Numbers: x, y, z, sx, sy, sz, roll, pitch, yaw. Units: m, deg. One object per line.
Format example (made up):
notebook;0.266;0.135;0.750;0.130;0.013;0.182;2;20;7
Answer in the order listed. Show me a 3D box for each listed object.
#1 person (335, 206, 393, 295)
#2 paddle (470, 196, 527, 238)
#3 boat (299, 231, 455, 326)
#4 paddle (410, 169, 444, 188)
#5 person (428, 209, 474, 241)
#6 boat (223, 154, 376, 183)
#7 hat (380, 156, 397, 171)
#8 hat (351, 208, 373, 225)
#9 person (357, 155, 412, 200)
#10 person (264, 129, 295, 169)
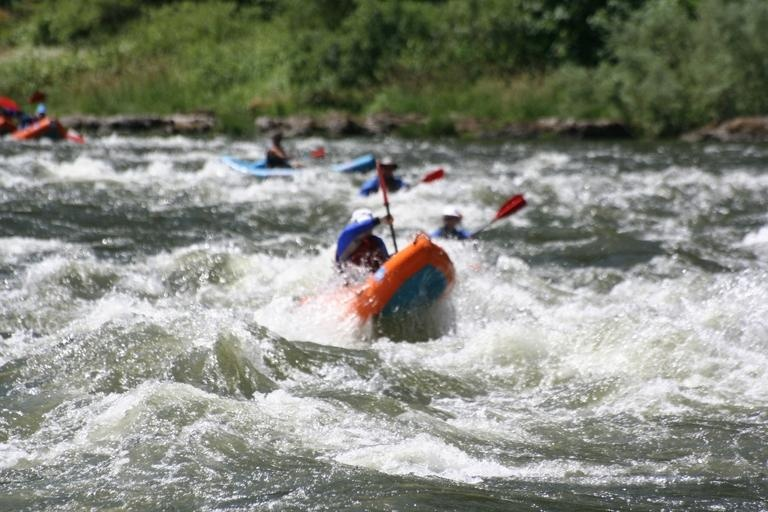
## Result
person;-0.385;-0.045;25.351;1.321;1.942;0.988;-6;32;-18
paddle;2.415;-0.797;27.559;1.581;0.113;0.187;-34;83;5
boat;-0.046;0.625;26.554;2.521;4.777;1.295;-15;86;-26
paddle;0.944;-1.711;29.033;0.106;1.199;0.122;14;63;-24
person;1.552;-0.641;26.573;0.704;0.482;0.986;-21;27;-28
boat;-1.996;-1.994;29.644;3.952;1.071;0.537;-2;89;2
hat;0.116;-2.001;28.407;0.327;0.592;0.190;-29;99;-9
hat;-0.464;-0.798;25.072;0.439;0.197;0.401;-9;53;-5
person;-0.095;-1.714;28.447;1.007;0.332;0.797;4;89;-23
person;-2.453;-2.404;29.912;0.787;0.815;0.871;12;24;23
